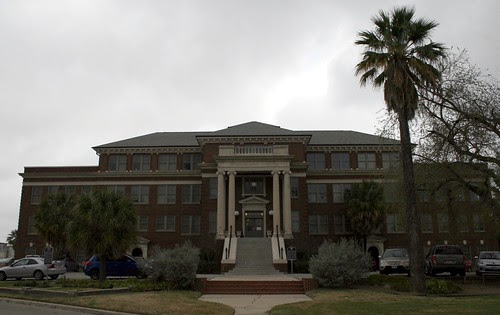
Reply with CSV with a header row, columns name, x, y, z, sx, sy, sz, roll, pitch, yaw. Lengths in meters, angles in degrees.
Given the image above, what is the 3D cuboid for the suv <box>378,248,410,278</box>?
name,x,y,z,sx,sy,sz,roll,pitch,yaw
suv,13.544,9.771,42.263,2.328,1.930,3.712,-6,-29,14

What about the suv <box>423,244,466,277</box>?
name,x,y,z,sx,sy,sz,roll,pitch,yaw
suv,16.612,8.637,38.003,2.686,2.550,1.355,-3,-13,2

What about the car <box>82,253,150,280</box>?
name,x,y,z,sx,sy,sz,roll,pitch,yaw
car,-10.460,9.022,37.707,7.865,2.038,3.434,-13,-17,39
